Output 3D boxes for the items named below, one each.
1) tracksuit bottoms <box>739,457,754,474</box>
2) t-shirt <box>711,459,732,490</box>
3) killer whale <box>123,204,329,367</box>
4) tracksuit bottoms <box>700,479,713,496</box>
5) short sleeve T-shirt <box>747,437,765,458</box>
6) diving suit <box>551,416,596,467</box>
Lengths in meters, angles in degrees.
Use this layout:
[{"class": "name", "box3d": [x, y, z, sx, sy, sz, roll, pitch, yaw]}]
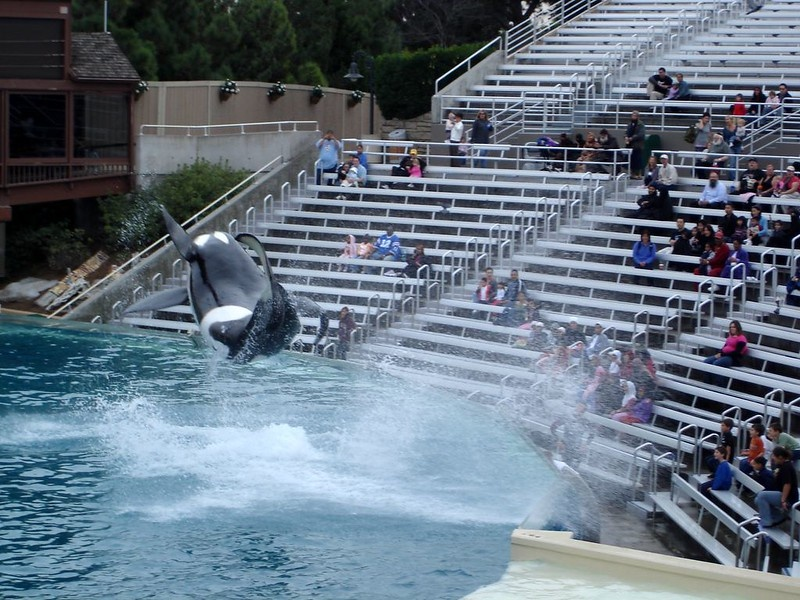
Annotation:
[{"class": "tracksuit bottoms", "box3d": [4.974, 2.411, 13.916, 0.157, 0.285, 0.630, 9, 7, 15]}, {"class": "t-shirt", "box3d": [4.600, 2.574, 13.867, 0.347, 0.394, 0.527, 3, -2, 16]}, {"class": "killer whale", "box3d": [-2.534, -0.468, 14.799, 2.073, 1.946, 2.856, 33, 21, -30]}, {"class": "tracksuit bottoms", "box3d": [4.388, 2.781, 13.953, 0.153, 0.209, 0.064, 2, -8, 38]}, {"class": "short sleeve T-shirt", "box3d": [5.085, 2.182, 13.827, 0.205, 0.310, 0.477, 9, 8, 17]}, {"class": "diving suit", "box3d": [2.803, 2.366, 15.935, 0.701, 0.712, 0.850, 7, 7, 11]}]
